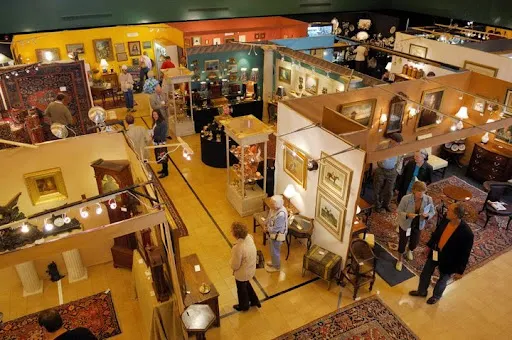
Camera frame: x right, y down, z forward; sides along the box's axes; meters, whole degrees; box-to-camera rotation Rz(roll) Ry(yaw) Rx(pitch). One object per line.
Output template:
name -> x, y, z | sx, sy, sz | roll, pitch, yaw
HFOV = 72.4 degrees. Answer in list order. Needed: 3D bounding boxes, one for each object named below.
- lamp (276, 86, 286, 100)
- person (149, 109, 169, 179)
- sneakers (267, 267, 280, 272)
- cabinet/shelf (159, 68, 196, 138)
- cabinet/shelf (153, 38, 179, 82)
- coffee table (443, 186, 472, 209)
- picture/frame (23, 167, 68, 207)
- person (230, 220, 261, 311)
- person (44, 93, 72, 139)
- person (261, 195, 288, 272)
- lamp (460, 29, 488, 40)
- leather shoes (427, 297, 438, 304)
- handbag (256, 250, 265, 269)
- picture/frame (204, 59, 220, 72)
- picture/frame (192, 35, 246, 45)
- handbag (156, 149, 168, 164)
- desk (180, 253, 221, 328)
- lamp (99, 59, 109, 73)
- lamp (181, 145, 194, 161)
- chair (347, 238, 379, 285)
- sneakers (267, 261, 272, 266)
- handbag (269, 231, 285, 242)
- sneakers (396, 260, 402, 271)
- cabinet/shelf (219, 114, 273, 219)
lamp -> 0.944, -3.142, 14.034 | 0.471, 0.494, 0.491 | -15, 32, -20
person -> -2.977, -0.832, 10.974 | 0.510, 2.143, 1.151 | -10, 35, -14
sneakers -> 0.431, 2.421, 8.588 | 0.332, 0.140, 0.121 | 7, 34, -3
cabinet/shelf -> -2.903, -2.414, 12.843 | 1.181, 2.719, 1.990 | -12, 34, -21
cabinet/shelf -> -3.959, -5.017, 16.020 | 0.472, 1.532, 1.559 | -35, 64, -31
coffee table -> 5.502, 0.776, 9.618 | 0.630, 0.443, 0.637 | 26, 46, 36
picture/frame -> -4.779, 0.353, 7.880 | 0.795, 0.850, 0.127 | -13, 27, -19
person -> -0.207, 2.091, 7.437 | 0.619, 2.143, 0.604 | -1, 34, -1
person -> -6.337, -1.567, 11.352 | 0.783, 2.000, 0.570 | 7, 40, -15
person -> 0.483, 1.530, 8.292 | 0.542, 1.892, 0.677 | 1, 34, 2
lamp -> 9.512, -5.856, 15.139 | 1.405, 0.315, 0.824 | 12, 39, 18
leather shoes -> 3.984, 2.951, 7.925 | 0.268, 0.104, 0.129 | -21, 51, 2
handbag -> 0.101, 2.160, 8.468 | 0.300, 0.390, 0.144 | -2, -10, 9
picture/frame -> -1.770, -4.151, 13.813 | 0.502, 0.363, 0.050 | -11, 30, -24
picture/frame -> -1.861, -6.554, 17.564 | 2.738, 0.422, 0.790 | -8, 35, -13
handbag -> -2.951, -0.449, 10.979 | 0.391, 0.503, 0.287 | -2, 36, -11
desk -> -1.191, 2.660, 7.668 | 0.704, 1.017, 1.179 | -8, 34, -11
lamp -> -6.921, -4.753, 15.900 | 0.357, 0.494, 0.378 | -20, 44, -24
lamp -> -1.880, -0.452, 9.598 | 0.268, 0.221, 1.078 | -26, 6, -23
chair -> 2.415, 2.173, 8.031 | 0.745, 0.952, 0.794 | 13, 26, 23
sneakers -> 0.336, 2.322, 8.691 | 0.121, 0.082, 0.056 | 15, 31, 29
handbag -> 0.513, 1.532, 8.103 | 0.223, 0.193, 0.307 | 7, 9, 20
sneakers -> 3.507, 2.343, 8.579 | 0.110, 0.128, 0.309 | 8, 45, 28
cabinet/shelf -> -0.298, -0.026, 10.031 | 1.273, 2.912, 1.702 | -15, 38, -24
